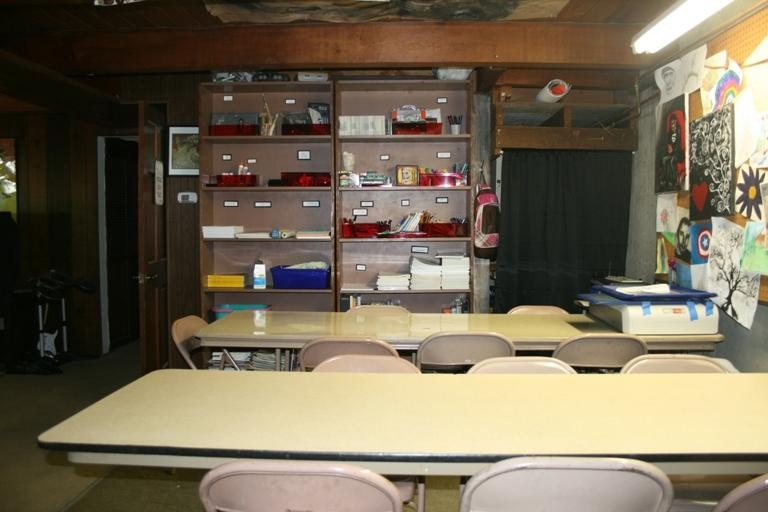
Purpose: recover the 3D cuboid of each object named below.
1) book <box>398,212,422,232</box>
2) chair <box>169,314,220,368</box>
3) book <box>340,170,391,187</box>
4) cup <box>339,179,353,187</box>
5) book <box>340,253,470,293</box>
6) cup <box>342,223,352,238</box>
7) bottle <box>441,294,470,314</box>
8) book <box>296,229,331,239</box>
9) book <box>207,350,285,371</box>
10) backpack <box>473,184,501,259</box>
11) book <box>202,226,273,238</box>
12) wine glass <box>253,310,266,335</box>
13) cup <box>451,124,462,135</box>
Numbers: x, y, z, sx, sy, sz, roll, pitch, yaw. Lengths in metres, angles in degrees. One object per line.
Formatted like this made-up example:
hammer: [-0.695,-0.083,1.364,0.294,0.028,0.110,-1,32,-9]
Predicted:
book: [0.272,-0.335,6.401,0.252,0.187,0.107,-1,4,-4]
chair: [-1.522,0.739,5.167,0.347,0.416,0.348,-20,-8,43]
book: [-0.185,-0.757,6.345,0.514,0.165,0.217,-1,4,1]
cup: [-0.364,-0.716,6.296,0.126,0.069,0.042,-1,4,-5]
book: [0.279,0.168,6.471,1.193,0.355,0.389,0,4,5]
cup: [-0.378,-0.251,6.369,0.129,0.142,0.103,1,4,19]
bottle: [0.742,0.493,6.487,0.273,0.261,0.158,2,-3,20]
book: [-0.718,-0.214,6.505,0.362,0.086,0.354,-1,4,-3]
book: [-1.293,0.966,5.862,0.563,0.155,0.401,1,-1,2]
backpack: [1.057,-0.333,6.470,0.408,0.656,0.191,-1,4,-44]
book: [-1.487,-0.233,6.383,0.693,0.125,0.245,-1,4,-10]
wine glass: [-1.037,0.553,5.323,0.111,0.059,0.252,1,12,-7]
cup: [0.722,-1.256,6.336,0.109,0.078,0.093,-1,4,-11]
